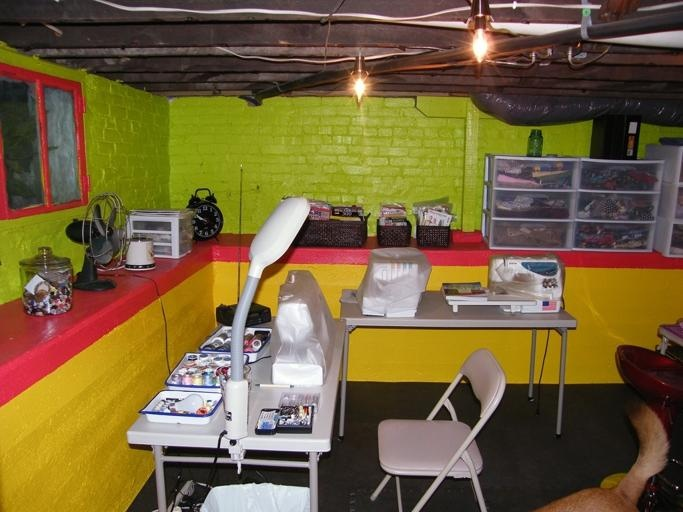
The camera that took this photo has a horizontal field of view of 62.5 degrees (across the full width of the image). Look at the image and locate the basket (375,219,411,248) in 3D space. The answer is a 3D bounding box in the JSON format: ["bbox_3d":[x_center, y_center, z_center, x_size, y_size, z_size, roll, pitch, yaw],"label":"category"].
[{"bbox_3d":[0.482,-0.205,5.216,0.288,0.175,0.282,1,3,6],"label":"basket"}]

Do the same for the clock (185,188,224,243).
[{"bbox_3d":[-1.268,-0.386,5.204,0.287,0.466,0.559,-3,10,-15],"label":"clock"}]

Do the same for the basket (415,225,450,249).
[{"bbox_3d":[0.834,-0.180,5.101,0.240,0.147,0.233,1,4,3],"label":"basket"}]

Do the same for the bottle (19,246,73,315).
[{"bbox_3d":[-1.652,0.137,3.129,0.264,0.357,0.204,-4,11,-21],"label":"bottle"}]

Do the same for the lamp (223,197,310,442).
[{"bbox_3d":[-0.348,0.322,2.623,0.410,1.185,0.296,-4,12,-19],"label":"lamp"}]
